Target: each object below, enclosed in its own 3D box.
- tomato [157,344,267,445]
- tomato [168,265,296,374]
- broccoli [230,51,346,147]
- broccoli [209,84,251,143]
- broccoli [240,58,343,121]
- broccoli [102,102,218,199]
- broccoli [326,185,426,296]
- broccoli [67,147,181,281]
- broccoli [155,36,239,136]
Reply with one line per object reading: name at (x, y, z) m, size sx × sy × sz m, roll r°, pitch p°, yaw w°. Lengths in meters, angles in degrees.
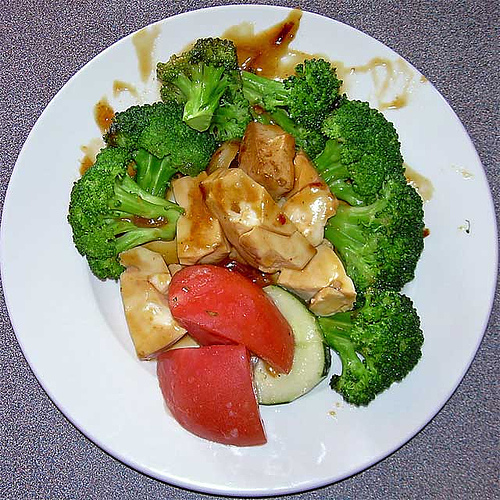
tomato at (-0.190, 0.424, 1.653) m, size 0.166 × 0.443 × 0.341 m, roll -37°, pitch 50°, yaw 18°
tomato at (-0.030, 0.230, 1.776) m, size 0.502 × 0.270 × 0.259 m, roll 29°, pitch 64°, yaw 26°
broccoli at (0.161, -0.519, 1.783) m, size 0.477 × 0.237 × 0.246 m, roll 20°, pitch 77°, yaw 12°
broccoli at (-0.059, -0.469, 1.804) m, size 0.173 × 0.052 × 0.169 m, roll 24°, pitch 96°, yaw 14°
broccoli at (0.156, -0.547, 1.775) m, size 0.366 × 0.155 × 0.178 m, roll 13°, pitch 97°, yaw 22°
broccoli at (-0.328, -0.344, 1.894) m, size 0.413 × 0.295 × 0.332 m, roll 15°, pitch 46°, yaw -20°
broccoli at (0.514, -0.045, 1.832) m, size 0.401 × 0.162 × 0.333 m, roll -25°, pitch 86°, yaw 27°
broccoli at (-0.471, -0.128, 1.776) m, size 0.387 × 0.203 × 0.420 m, roll -36°, pitch 86°, yaw -3°
broccoli at (-0.159, -0.581, 1.775) m, size 0.271 × 0.300 × 0.245 m, roll -8°, pitch 93°, yaw 10°
